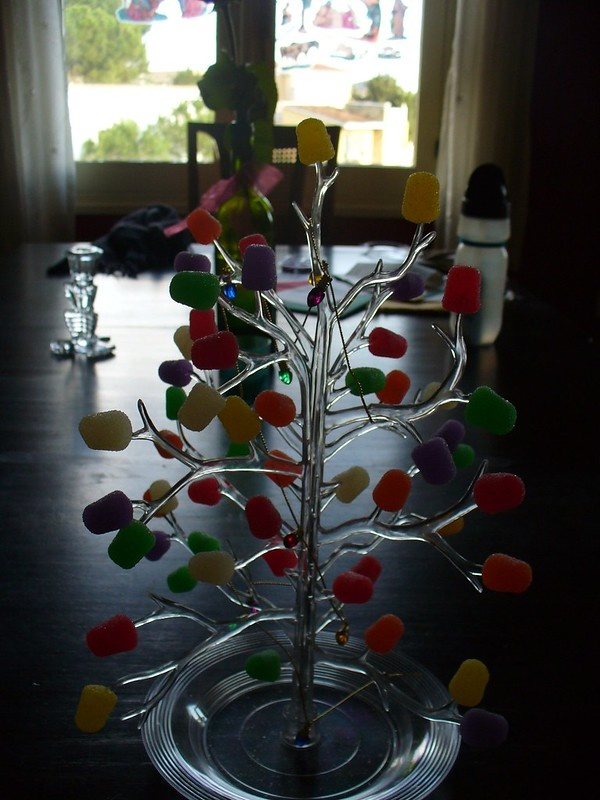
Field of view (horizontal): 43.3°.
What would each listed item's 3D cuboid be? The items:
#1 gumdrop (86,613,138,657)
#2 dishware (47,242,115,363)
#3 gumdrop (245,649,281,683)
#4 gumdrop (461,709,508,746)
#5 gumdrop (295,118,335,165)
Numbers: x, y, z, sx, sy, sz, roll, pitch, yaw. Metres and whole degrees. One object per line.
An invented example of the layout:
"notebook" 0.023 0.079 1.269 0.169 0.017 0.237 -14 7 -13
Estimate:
"gumdrop" -0.110 0.144 0.449 0.027 0.034 0.025 -1 19 -9
"dishware" -0.425 -0.189 1.461 0.120 0.187 0.255 -4 18 -17
"gumdrop" -0.025 0.182 0.504 0.022 0.028 0.019 0 19 -6
"gumdrop" 0.111 0.202 0.465 0.032 0.021 0.012 9 7 -3
"gumdrop" 0.003 -0.146 0.425 0.024 0.026 0.007 -3 25 3
